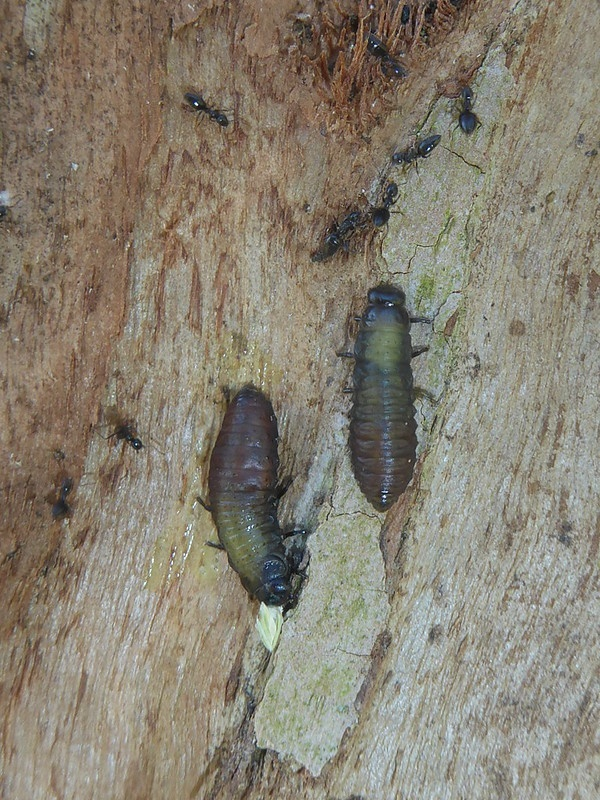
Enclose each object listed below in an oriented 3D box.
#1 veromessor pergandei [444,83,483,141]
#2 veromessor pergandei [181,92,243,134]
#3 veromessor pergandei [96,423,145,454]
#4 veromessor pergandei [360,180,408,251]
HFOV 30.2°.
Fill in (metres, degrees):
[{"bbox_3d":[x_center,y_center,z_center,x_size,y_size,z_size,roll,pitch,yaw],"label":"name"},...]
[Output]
[{"bbox_3d":[1.034,-1.810,6.947,0.131,0.362,0.079,-1,14,20],"label":"veromessor pergandei"},{"bbox_3d":[-0.572,-1.784,6.840,0.280,0.185,0.071,5,48,-1],"label":"veromessor pergandei"},{"bbox_3d":[-1.116,0.228,7.067,0.182,0.090,0.180,24,13,-24],"label":"veromessor pergandei"},{"bbox_3d":[0.524,-1.240,7.171,0.265,0.213,0.192,-17,57,-13],"label":"veromessor pergandei"}]
